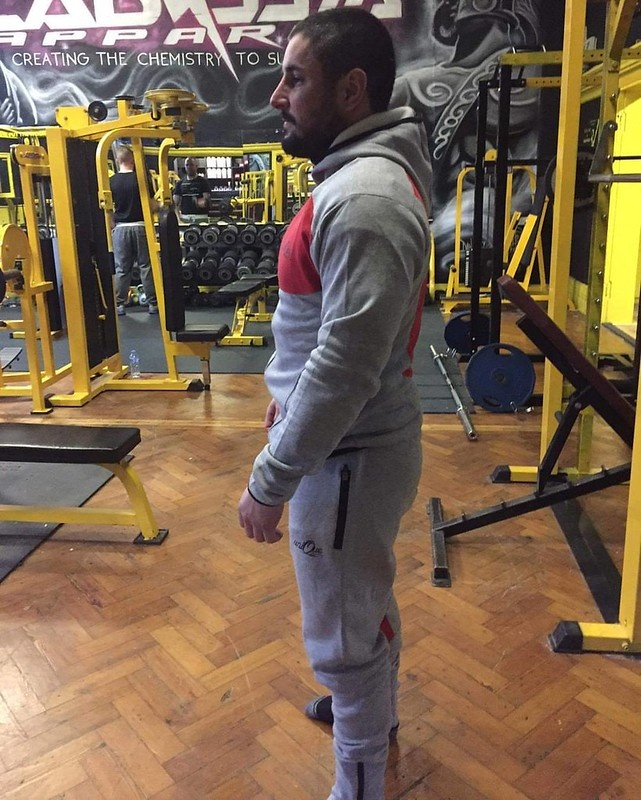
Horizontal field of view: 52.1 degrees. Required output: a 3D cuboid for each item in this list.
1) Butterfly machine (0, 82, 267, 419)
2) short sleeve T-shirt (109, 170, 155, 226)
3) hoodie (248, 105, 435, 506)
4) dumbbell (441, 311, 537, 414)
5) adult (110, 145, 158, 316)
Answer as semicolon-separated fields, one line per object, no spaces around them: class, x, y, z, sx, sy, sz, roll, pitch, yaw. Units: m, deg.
Butterfly machine;-1.583;-1.012;5.055;2.186;2.588;1.962;1;9;2
short sleeve T-shirt;-1.805;-1.918;6.290;0.356;0.519;0.351;-5;6;-38
hoodie;0.027;-0.134;0.934;0.252;0.534;0.352;1;22;9
dumbbell;0.978;-0.174;3.921;0.383;0.327;0.880;1;6;2
adult;-1.859;-1.665;6.511;0.557;1.568;0.522;-11;23;-26
